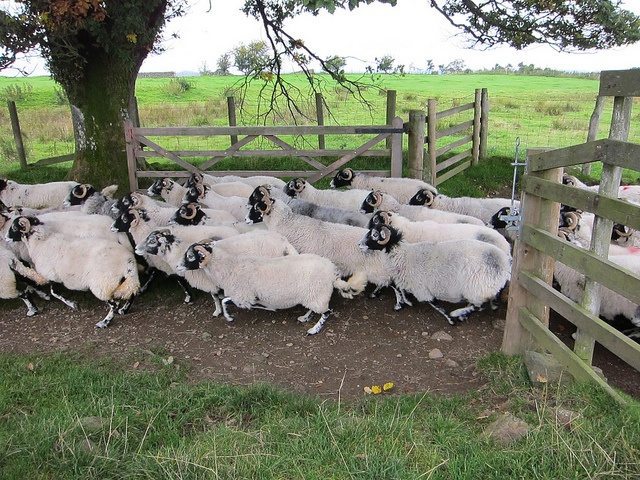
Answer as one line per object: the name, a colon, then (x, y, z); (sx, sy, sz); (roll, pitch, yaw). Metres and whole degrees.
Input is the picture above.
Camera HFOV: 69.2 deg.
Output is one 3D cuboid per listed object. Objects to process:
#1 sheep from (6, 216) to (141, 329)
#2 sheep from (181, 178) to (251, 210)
sheep: (-3.993, 0.544, 7.495); (2.007, 1.378, 0.749); (20, 27, 13)
sheep: (-2.015, -0.902, 9.235); (1.583, 0.829, 0.561); (1, 3, 2)
